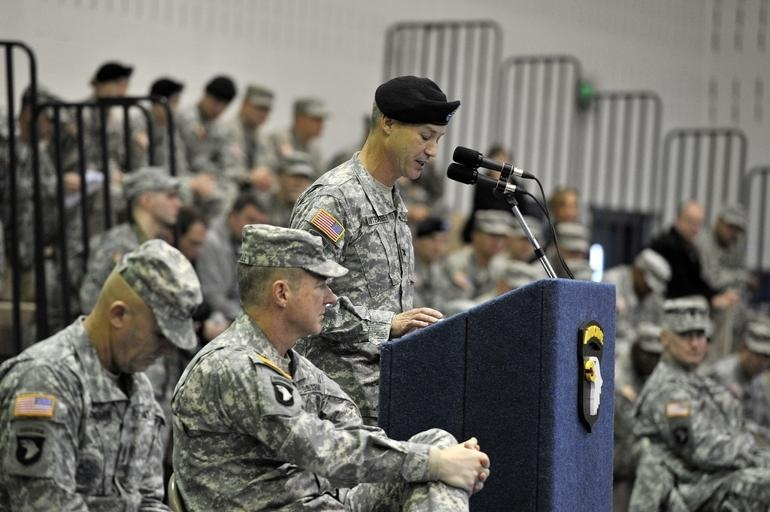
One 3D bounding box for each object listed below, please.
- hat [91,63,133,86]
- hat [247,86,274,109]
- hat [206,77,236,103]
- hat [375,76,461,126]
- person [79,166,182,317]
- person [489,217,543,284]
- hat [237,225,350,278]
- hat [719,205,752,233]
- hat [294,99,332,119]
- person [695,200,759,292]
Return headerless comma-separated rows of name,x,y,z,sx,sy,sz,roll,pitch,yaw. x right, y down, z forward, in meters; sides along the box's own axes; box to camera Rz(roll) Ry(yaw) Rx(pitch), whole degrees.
hat,-2.012,-1.322,12.699,0.193,0.065,0.193,-21,-2,-41
hat,-1.090,-1.364,15.018,0.059,0.172,0.239,4,-2,35
hat,-1.343,-1.341,14.060,0.206,0.201,0.457,2,1,11
hat,0.216,-1.042,11.644,0.632,0.281,0.516,19,13,21
person,-1.812,-0.088,12.034,0.489,0.919,0.900,11,8,7
person,1.145,-0.051,14.995,0.450,0.559,1.283,2,1,3
hat,-0.600,-0.026,10.833,0.507,0.185,0.342,10,-1,-7
hat,2.667,-0.282,13.144,0.197,0.191,0.160,-1,2,5
hat,-0.699,-1.343,15.995,0.260,0.108,0.190,0,3,18
person,2.580,-0.035,13.119,0.509,0.936,0.512,-1,1,30
